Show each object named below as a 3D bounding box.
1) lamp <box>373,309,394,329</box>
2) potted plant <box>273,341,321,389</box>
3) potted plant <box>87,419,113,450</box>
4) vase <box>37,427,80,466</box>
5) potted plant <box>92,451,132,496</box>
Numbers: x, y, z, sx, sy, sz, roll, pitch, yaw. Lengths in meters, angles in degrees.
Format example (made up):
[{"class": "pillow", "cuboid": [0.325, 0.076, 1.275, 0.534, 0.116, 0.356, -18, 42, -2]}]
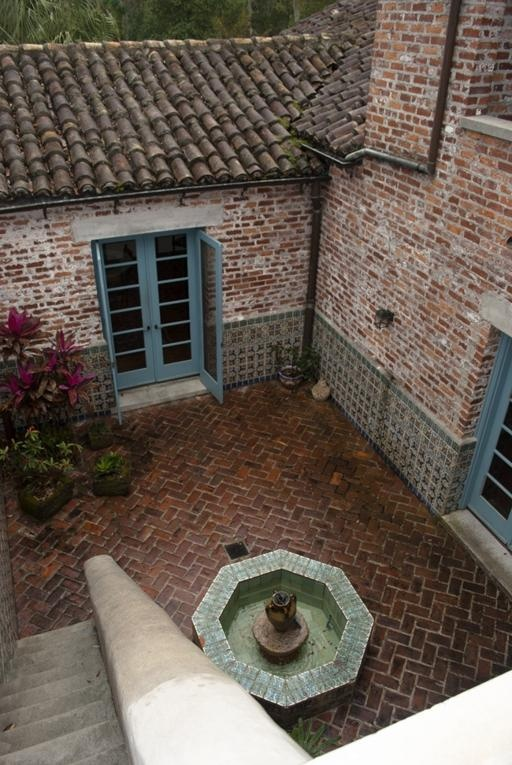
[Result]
[{"class": "lamp", "cuboid": [1.733, -0.831, 7.230, 0.122, 0.306, 0.276, -21, 38, -34]}, {"class": "potted plant", "cuboid": [0.688, -0.302, 9.339, 0.679, 0.691, 0.573, -12, 34, -23]}, {"class": "potted plant", "cuboid": [-2.361, 0.794, 8.072, 0.364, 0.242, 0.393, -15, 35, -27]}, {"class": "vase", "cuboid": [-2.631, 0.852, 7.550, 0.356, 0.603, 0.588, -17, -18, 33]}, {"class": "potted plant", "cuboid": [-2.018, 1.189, 7.405, 0.564, 0.558, 0.555, 0, 34, -3]}]
